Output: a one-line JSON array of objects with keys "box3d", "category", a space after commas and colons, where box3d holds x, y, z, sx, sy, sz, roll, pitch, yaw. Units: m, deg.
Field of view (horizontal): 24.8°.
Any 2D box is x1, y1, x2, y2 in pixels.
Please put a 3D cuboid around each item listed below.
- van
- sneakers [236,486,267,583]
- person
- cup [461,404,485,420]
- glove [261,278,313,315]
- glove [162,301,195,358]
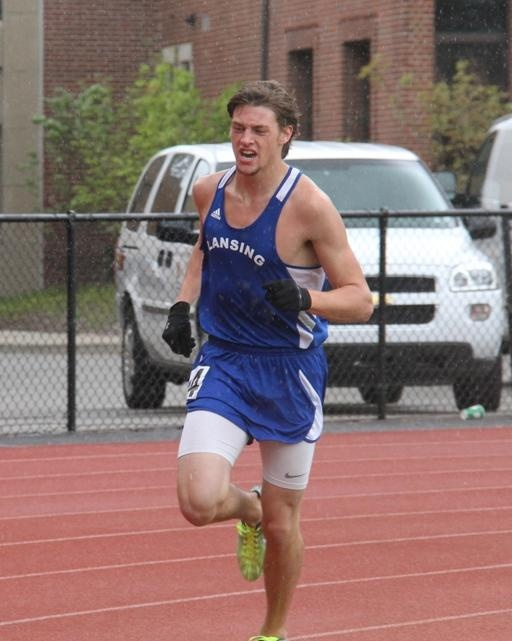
[{"box3d": [0.392, -0.342, 8.884, 1.558, 1.488, 2.721, 1, -4, -15], "category": "van"}, {"box3d": [-0.013, 0.717, 3.997, 0.092, 0.326, 0.129, 0, 14, -1], "category": "sneakers"}, {"box3d": [0.061, 0.121, 3.592, 0.577, 1.731, 0.493, 0, 4, 5], "category": "person"}, {"box3d": [1.515, 0.620, 8.125, 0.163, 0.108, 0.272, 1, 4, 12], "category": "cup"}, {"box3d": [0.101, -0.070, 3.403, 0.113, 0.091, 0.051, 32, 54, 21], "category": "glove"}, {"box3d": [-0.256, 0.031, 3.887, 0.116, 0.180, 0.051, -17, -22, 33], "category": "glove"}]
